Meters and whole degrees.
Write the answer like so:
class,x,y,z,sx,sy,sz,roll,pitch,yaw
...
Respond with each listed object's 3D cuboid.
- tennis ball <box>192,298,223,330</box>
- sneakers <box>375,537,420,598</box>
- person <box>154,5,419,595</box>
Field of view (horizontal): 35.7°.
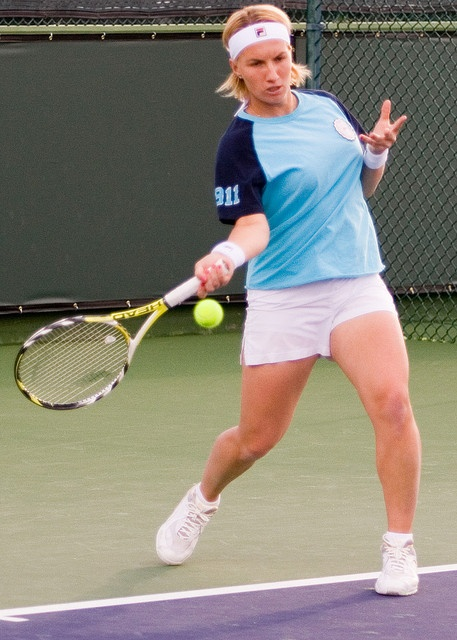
class,x,y,z,sx,sy,sz,roll,pitch,yaw
tennis ball,-0.047,-0.021,1.926,0.091,0.074,0.045,-2,-1,-6
sneakers,0.410,0.603,1.729,0.078,0.071,0.180,0,-5,6
person,0.142,-0.045,1.897,0.712,1.617,0.658,-3,9,-7
